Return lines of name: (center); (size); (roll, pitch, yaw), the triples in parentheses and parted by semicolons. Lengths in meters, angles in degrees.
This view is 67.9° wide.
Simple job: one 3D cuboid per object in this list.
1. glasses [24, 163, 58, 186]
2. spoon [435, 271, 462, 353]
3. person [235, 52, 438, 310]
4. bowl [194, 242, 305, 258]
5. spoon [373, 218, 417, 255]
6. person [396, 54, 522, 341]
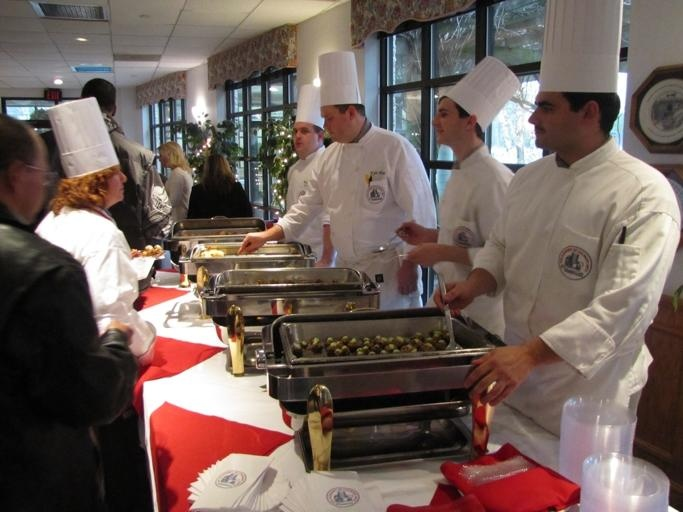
glasses: (-0.575, -0.158, 0.975); (0.031, 0.010, 0.033); (19, -17, 6)
spoon: (0.271, 0.150, 1.284); (0.049, 0.018, 0.155); (-12, 48, 18)
person: (0.058, -0.282, 3.237); (1.105, 1.919, 1.213); (3, -6, -34)
bowl: (-0.439, -0.028, 2.418); (0.365, 0.052, 0.205); (-1, 5, -5)
spoon: (0.243, -0.082, 2.420); (0.120, 0.060, 0.166); (-18, 14, 48)
person: (0.480, -0.044, 2.155); (0.485, 1.453, 0.498); (1, 8, 9)
